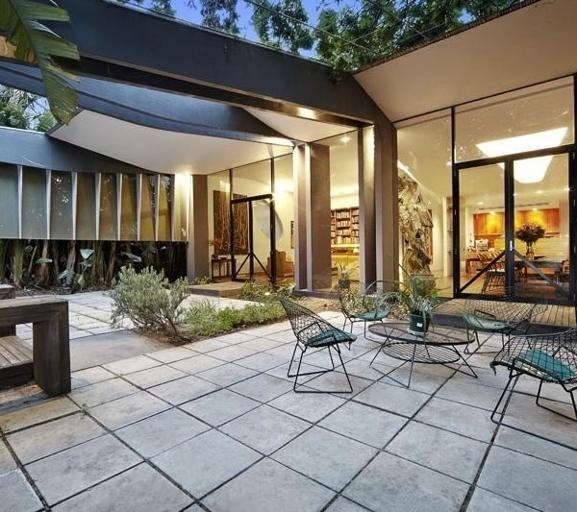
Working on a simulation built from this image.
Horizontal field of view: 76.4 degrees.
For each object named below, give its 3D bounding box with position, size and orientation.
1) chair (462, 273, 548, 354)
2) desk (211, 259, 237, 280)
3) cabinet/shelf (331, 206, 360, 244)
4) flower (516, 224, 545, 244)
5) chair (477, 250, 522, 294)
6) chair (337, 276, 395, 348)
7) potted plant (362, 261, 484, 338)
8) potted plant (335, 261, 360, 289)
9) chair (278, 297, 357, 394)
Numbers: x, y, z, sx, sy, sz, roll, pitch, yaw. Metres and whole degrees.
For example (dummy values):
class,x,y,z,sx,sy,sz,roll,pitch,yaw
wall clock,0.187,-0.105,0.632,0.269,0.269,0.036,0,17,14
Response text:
class,x,y,z,sx,sy,sz,roll,pitch,yaw
chair,2.544,0.698,4.378,0.990,0.767,0.868,0,0,43
desk,-1.967,0.356,11.433,0.623,0.744,0.759,2,-4,-43
cabinet/shelf,1.965,-1.054,13.042,1.219,1.195,0.434,0,4,36
flower,3.690,-0.352,5.666,0.260,0.282,0.284,-1,1,26
chair,3.606,0.263,6.109,0.574,0.866,0.628,0,-1,37
chair,1.096,0.789,5.011,0.488,0.582,0.509,-3,4,-33
potted plant,1.362,0.494,3.780,0.698,0.551,0.767,1,-14,-7
potted plant,1.320,0.417,8.397,0.561,0.571,0.548,0,-5,10
chair,0.280,0.830,3.621,0.655,0.797,0.606,1,-6,-19
